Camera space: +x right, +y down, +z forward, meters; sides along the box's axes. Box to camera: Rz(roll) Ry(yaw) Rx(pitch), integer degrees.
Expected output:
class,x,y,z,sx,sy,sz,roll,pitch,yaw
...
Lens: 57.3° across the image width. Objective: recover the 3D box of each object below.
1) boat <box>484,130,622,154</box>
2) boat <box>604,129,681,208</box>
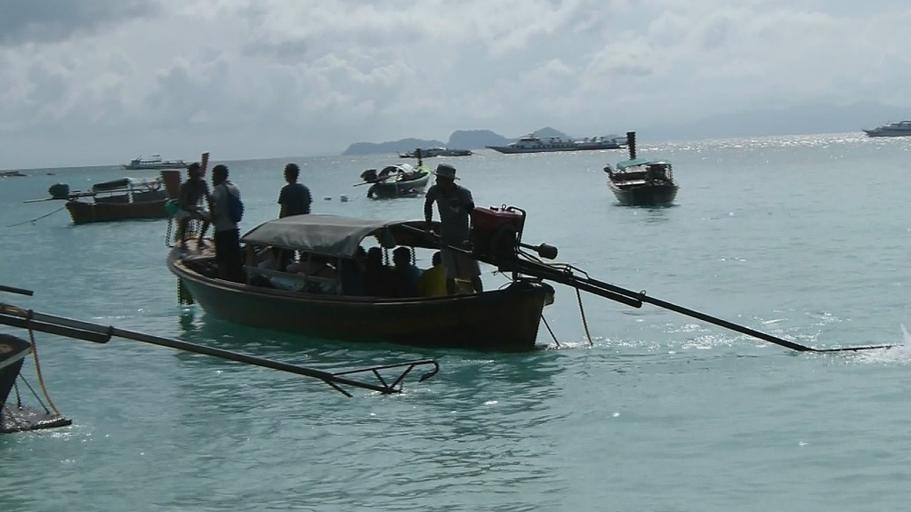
class,x,y,z,sx,sy,sz,roll,pitch,yaw
boat,21.307,-24.377,181.050,20.944,3.408,29.532,-5,5,-14
boat,11.793,-4.694,53.045,3.629,3.001,4.189,-6,6,4
